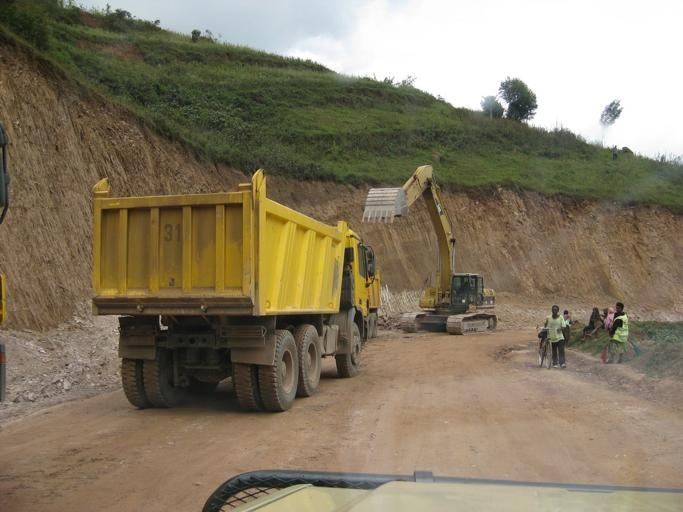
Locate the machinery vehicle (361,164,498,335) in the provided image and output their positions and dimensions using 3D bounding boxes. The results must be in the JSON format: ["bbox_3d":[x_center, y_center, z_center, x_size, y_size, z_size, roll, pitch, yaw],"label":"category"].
[{"bbox_3d":[3.857,-0.120,30.398,6.870,7.081,2.883,2,-1,-44],"label":"machinery vehicle"}]

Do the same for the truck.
[{"bbox_3d":[-1.953,0.675,17.462,3.357,5.466,7.228,5,8,35],"label":"truck"}]

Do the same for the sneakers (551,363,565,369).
[{"bbox_3d":[6.385,3.218,21.069,0.299,0.111,0.080,3,-9,45],"label":"sneakers"}]

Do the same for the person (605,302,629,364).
[{"bbox_3d":[8.562,2.272,22.063,0.591,1.740,1.467,3,7,23],"label":"person"}]
